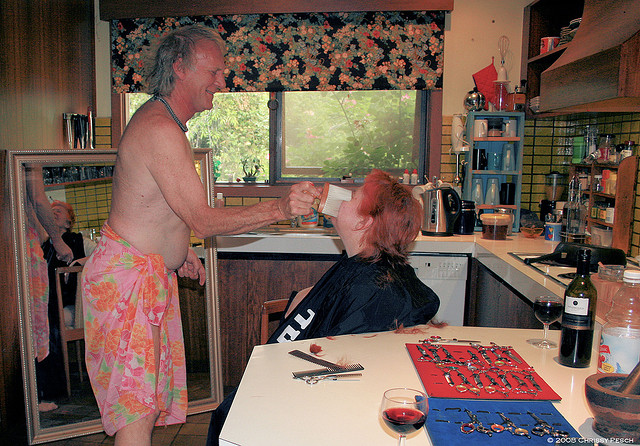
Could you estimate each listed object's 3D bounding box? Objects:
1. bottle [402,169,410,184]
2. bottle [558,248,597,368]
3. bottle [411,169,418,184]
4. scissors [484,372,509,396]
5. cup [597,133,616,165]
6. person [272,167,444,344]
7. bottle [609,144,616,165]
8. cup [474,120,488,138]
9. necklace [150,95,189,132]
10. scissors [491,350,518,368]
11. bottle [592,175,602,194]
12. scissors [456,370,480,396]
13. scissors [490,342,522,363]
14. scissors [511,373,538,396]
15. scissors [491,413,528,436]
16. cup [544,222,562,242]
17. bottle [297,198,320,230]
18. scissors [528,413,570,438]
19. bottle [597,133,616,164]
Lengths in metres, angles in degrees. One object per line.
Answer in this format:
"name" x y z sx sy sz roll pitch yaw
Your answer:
"bottle" 0.704 -0.380 4.182 0.051 0.113 0.158 -1 8 9
"bottle" 0.893 0.293 1.777 0.111 0.417 0.102 -2 9 0
"bottle" 0.771 -0.380 4.180 0.051 0.113 0.145 -1 8 10
"scissors" 0.566 0.527 1.633 0.069 0.026 0.070 3 9 34
"cup" 1.841 -0.469 3.256 0.129 0.203 0.124 -4 14 1
"person" 0.138 0.101 2.302 0.750 0.677 1.020 8 12 12
"bottle" 1.795 -0.420 3.137 0.035 0.117 0.165 2 9 29
"cup" 1.196 -0.701 3.809 0.086 0.141 0.146 13 25 38
"necklace" -0.670 -0.499 2.300 0.049 0.187 0.146 -31 20 3
"scissors" 0.637 0.473 1.774 0.026 0.010 0.071 -1 14 -16
"bottle" 1.732 -0.247 3.203 0.039 0.107 0.057 -3 8 -4
"scissors" 0.478 0.519 1.660 0.072 0.032 0.108 0 7 14
"scissors" 0.675 0.466 1.844 0.030 0.020 0.123 9 7 -38
"scissors" 0.661 0.524 1.652 0.073 0.030 0.093 1 8 20
"scissors" 0.556 0.594 1.495 0.094 0.031 0.077 3 9 33
"cup" 1.598 0.055 3.510 0.152 0.138 0.111 3 7 26
"bottle" -0.104 -0.086 3.957 0.174 0.250 0.140 -5 10 -17
"scissors" 0.668 0.603 1.484 0.102 0.020 0.050 1 8 21
"bottle" 1.826 -0.472 3.275 0.121 0.189 0.119 0 8 0
